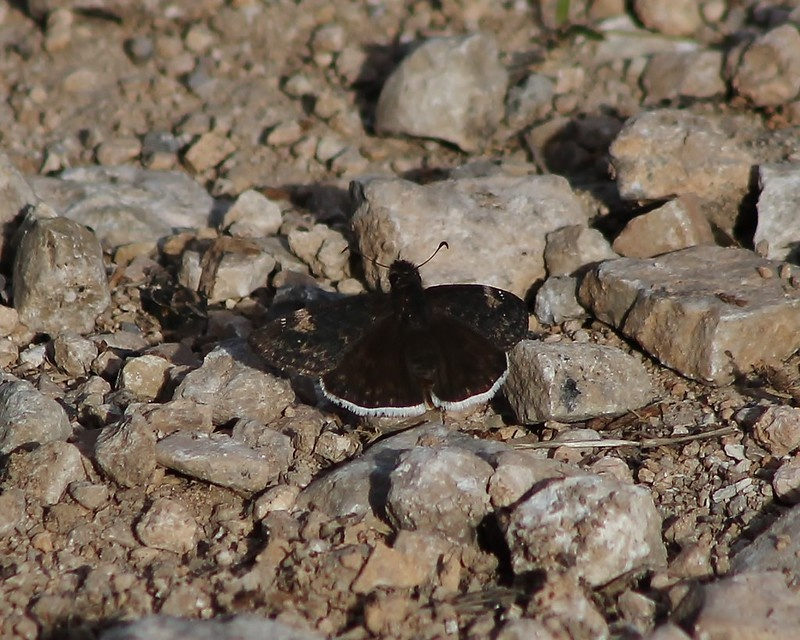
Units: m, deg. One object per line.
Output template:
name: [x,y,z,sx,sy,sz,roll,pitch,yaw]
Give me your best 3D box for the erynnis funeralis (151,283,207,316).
erynnis funeralis: [-1.703,-0.157,9.955,0.374,0.107,0.235,17,65,-1]
